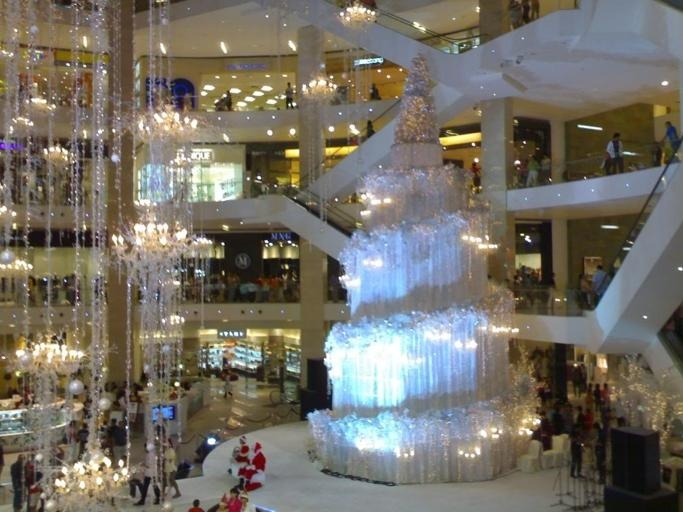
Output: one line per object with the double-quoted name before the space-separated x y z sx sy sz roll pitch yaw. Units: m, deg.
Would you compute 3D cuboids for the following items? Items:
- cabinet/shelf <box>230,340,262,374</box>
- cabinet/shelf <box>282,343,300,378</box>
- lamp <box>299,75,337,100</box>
"cabinet/shelf" -3.527 3.718 25.320 1.114 1.023 0.413 5 12 30
"cabinet/shelf" -1.798 3.815 24.582 0.664 1.329 1.212 1 -5 -20
"lamp" -0.670 -5.384 22.067 0.916 0.829 0.953 0 9 3
